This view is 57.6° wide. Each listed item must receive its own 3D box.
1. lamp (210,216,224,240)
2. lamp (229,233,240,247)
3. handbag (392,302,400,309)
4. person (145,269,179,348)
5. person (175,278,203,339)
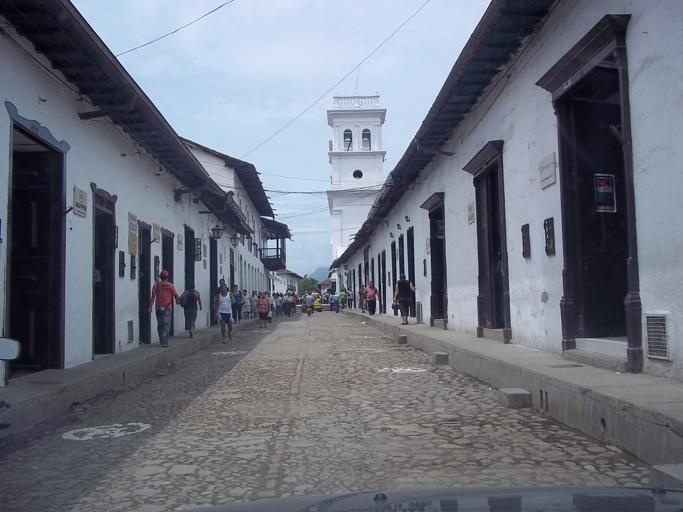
[{"bbox_3d":[-4.370,-0.886,21.894,0.416,0.744,0.438,-3,4,-5],"label":"lamp"},{"bbox_3d":[-4.468,-0.681,26.226,0.396,0.597,0.462,-4,6,-25],"label":"lamp"},{"bbox_3d":[1.673,1.516,19.080,0.197,0.203,0.283,-6,3,1],"label":"handbag"},{"bbox_3d":[-3.694,1.061,12.967,0.569,1.551,1.139,0,-1,-18],"label":"person"},{"bbox_3d":[-3.834,1.366,15.784,0.488,1.298,2.232,0,-2,-14],"label":"person"}]
